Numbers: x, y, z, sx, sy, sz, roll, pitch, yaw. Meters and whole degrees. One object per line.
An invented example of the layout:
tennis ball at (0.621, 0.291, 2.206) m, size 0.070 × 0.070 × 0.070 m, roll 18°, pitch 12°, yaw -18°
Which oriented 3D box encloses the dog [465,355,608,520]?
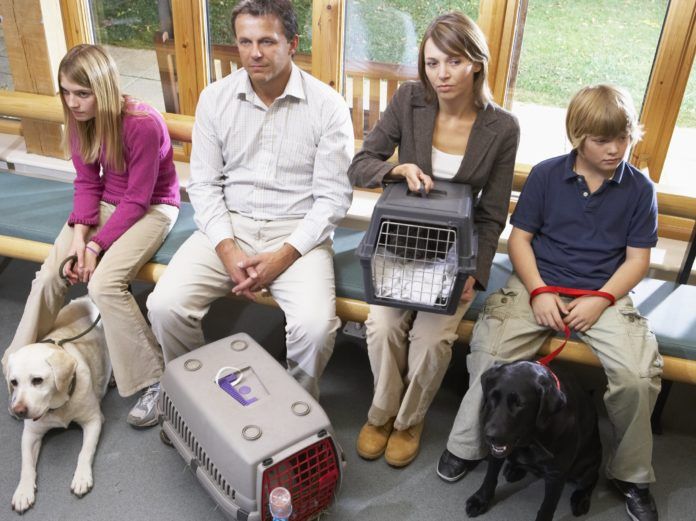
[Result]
dog at (0.666, 0.531, 2.035) m, size 0.389 × 0.607 × 0.641 m, roll 13°, pitch 23°, yaw 41°

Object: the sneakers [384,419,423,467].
sneakers at (0.258, 0.731, 2.220) m, size 0.116 × 0.134 × 0.343 m, roll -4°, pitch 10°, yaw 21°

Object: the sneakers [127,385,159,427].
sneakers at (-0.873, 0.622, 2.257) m, size 0.069 × 0.072 × 0.162 m, roll 17°, pitch 39°, yaw 6°
